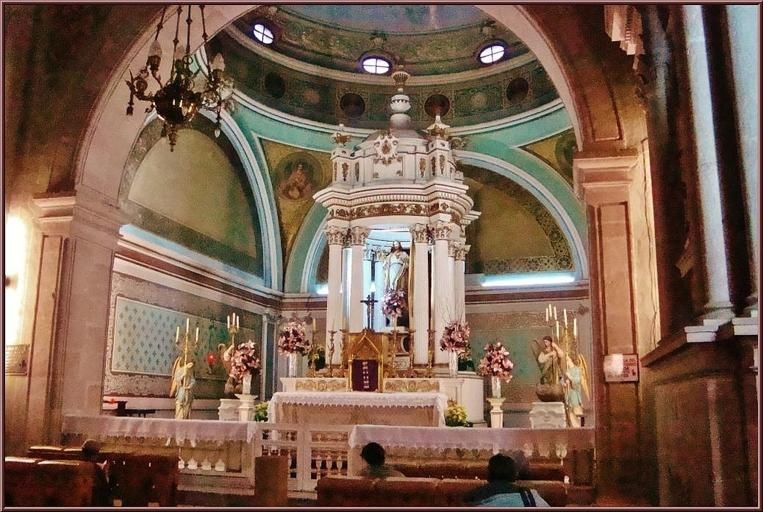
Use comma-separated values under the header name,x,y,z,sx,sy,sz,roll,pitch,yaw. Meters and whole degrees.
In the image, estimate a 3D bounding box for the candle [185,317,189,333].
name,x,y,z,sx,sy,sz,roll,pitch,yaw
candle,-4.249,1.510,15.936,0.068,0.314,0.178,1,-18,-6

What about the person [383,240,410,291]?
name,x,y,z,sx,sy,sz,roll,pitch,yaw
person,0.318,0.290,16.427,0.572,1.341,0.997,-2,-18,2

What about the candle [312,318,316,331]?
name,x,y,z,sx,sy,sz,roll,pitch,yaw
candle,-1.796,1.851,19.417,0.120,0.346,0.140,-2,-17,2

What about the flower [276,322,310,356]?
name,x,y,z,sx,sy,sz,roll,pitch,yaw
flower,-1.718,1.589,14.274,0.533,0.651,0.457,1,-18,-6

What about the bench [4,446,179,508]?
name,x,y,z,sx,sy,sz,roll,pitch,yaw
bench,-3.054,2.289,7.613,1.715,0.670,0.875,-9,-19,20

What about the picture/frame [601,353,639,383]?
name,x,y,z,sx,sy,sz,roll,pitch,yaw
picture/frame,2.982,1.410,9.086,0.380,0.319,0.050,0,-15,7

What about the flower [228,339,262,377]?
name,x,y,z,sx,sy,sz,roll,pitch,yaw
flower,-2.579,1.917,13.722,0.466,0.649,0.537,4,-19,-17

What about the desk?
name,x,y,z,sx,sy,sz,roll,pitch,yaw
desk,-0.448,2.684,12.665,3.005,0.663,0.426,-4,-18,9

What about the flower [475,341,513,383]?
name,x,y,z,sx,sy,sz,roll,pitch,yaw
flower,2.025,1.884,13.090,0.526,0.666,0.461,-3,-18,4

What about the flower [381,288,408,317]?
name,x,y,z,sx,sy,sz,roll,pitch,yaw
flower,0.290,1.005,15.543,0.572,0.524,0.577,-3,4,13
